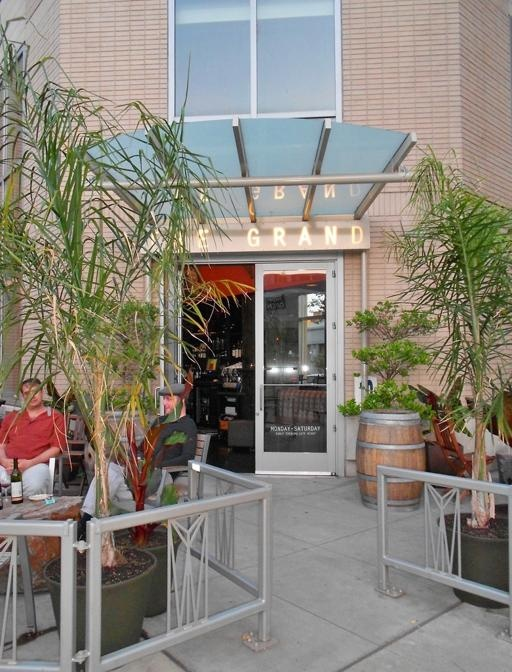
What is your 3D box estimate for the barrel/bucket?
[{"bbox_3d":[1.200,1.087,5.502,0.770,1.101,0.788,0,-1,0],"label":"barrel/bucket"}]
